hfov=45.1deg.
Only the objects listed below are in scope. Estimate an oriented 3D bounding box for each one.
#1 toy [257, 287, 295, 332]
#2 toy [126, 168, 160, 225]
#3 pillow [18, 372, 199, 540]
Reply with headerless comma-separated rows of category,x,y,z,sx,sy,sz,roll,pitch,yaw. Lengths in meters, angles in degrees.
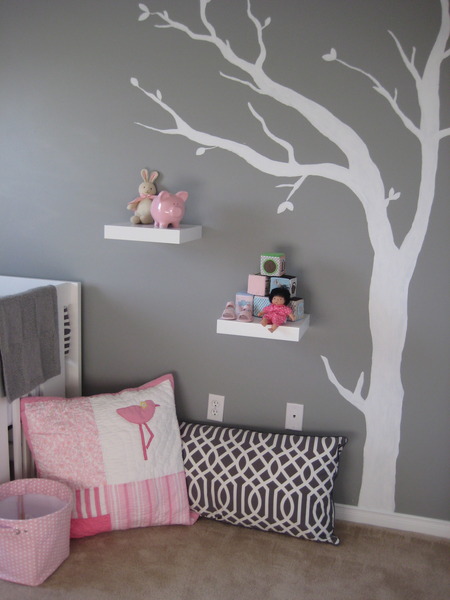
toy,0.163,0.016,1.696,0.116,0.141,0.126,9,21,42
toy,-0.279,-0.362,1.874,0.097,0.202,0.132,3,4,-4
pillow,-0.375,0.527,1.786,0.563,0.435,0.215,2,4,-20
